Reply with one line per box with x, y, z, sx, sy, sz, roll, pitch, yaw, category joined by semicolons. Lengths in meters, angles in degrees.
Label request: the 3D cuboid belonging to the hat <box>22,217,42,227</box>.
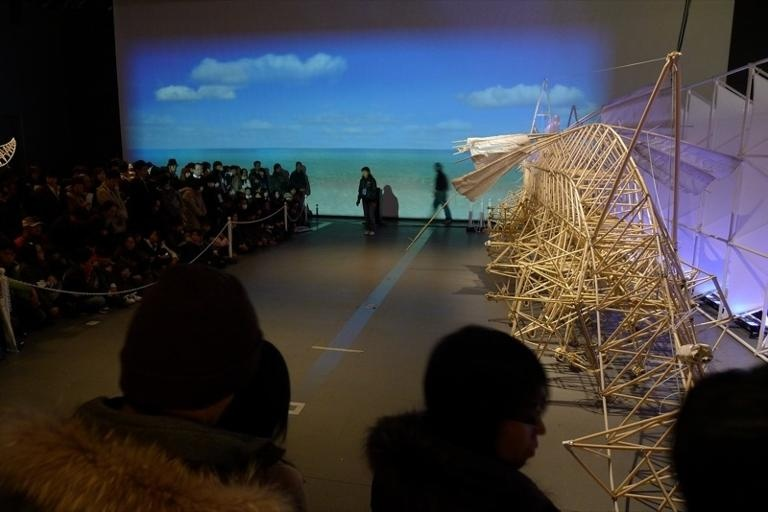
-4.464;-0.450;6.279;0.167;0.101;0.199;-5;15;-27;hat

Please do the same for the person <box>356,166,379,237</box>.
-0.398;-1.599;13.811;0.525;1.824;0.985;-1;14;-11;person
